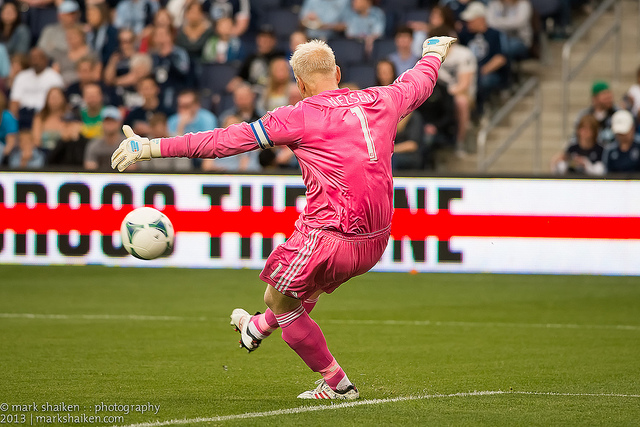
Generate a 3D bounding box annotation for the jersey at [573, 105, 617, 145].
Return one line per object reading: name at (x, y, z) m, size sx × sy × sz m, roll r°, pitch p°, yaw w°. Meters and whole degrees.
jersey at (4.047, -1.351, 20.334) m, size 0.474 × 0.672 × 0.483 m, roll 8°, pitch 26°, yaw 8°

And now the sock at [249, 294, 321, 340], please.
sock at (-0.413, 1.240, 16.203) m, size 0.667 × 0.310 × 0.193 m, roll -33°, pitch 63°, yaw -20°
